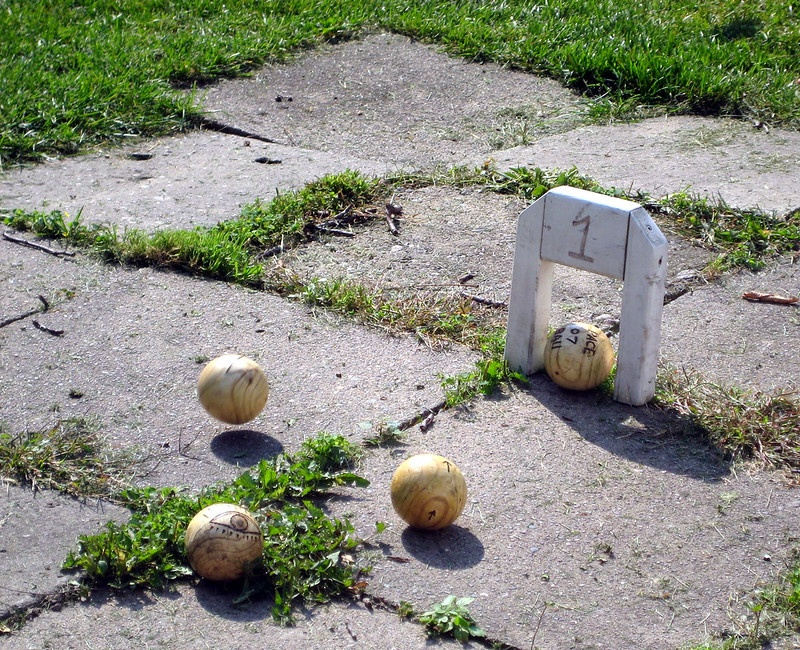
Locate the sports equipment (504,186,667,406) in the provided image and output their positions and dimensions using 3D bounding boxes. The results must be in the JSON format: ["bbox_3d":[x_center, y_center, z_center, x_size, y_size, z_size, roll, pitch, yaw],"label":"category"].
[{"bbox_3d":[1.009,-0.111,4.682,1.054,1.229,0.319,20,31,29],"label":"sports equipment"}]
